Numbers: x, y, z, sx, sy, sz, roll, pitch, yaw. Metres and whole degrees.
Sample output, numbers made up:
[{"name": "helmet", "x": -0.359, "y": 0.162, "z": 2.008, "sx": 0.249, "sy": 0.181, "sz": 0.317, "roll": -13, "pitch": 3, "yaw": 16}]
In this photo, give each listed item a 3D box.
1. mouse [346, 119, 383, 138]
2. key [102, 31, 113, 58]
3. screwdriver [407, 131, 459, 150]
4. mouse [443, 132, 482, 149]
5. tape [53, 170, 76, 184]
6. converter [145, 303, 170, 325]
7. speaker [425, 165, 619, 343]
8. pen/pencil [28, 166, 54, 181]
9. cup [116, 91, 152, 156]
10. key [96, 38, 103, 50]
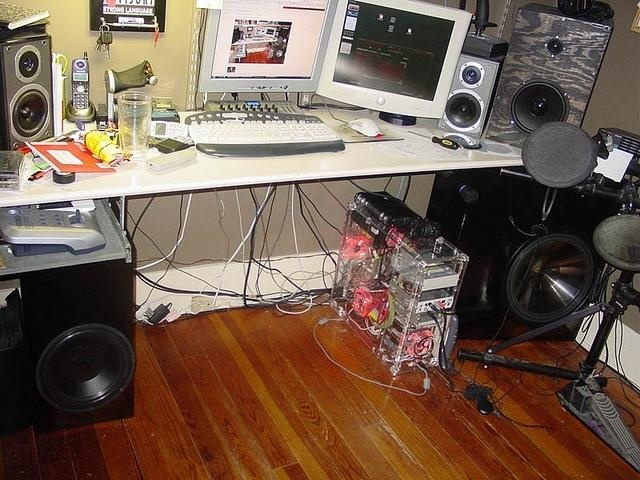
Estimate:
[{"name": "mouse", "x": 0.213, "y": -0.535, "z": 2.156, "sx": 0.143, "sy": 0.048, "sz": 0.082, "roll": 32, "pitch": 38, "yaw": 27}, {"name": "key", "x": -0.850, "y": -0.787, "z": 1.891, "sx": 0.038, "sy": 0.098, "sz": 0.041, "roll": -8, "pitch": 28, "yaw": -23}, {"name": "screwdriver", "x": 0.516, "y": -0.475, "z": 2.257, "sx": 0.079, "sy": 0.037, "sz": 0.315, "roll": -25, "pitch": 39, "yaw": -37}, {"name": "mouse", "x": 0.677, "y": -0.469, "z": 2.210, "sx": 0.107, "sy": 0.029, "sz": 0.113, "roll": -2, "pitch": 35, "yaw": -17}, {"name": "tape", "x": -0.811, "y": -0.203, "z": 1.472, "sx": 0.044, "sy": 0.025, "sz": 0.046, "roll": 3, "pitch": 10, "yaw": -7}, {"name": "converter", "x": -0.825, "y": 0.373, "z": 2.378, "sx": 0.132, "sy": 0.068, "sz": 0.034, "roll": -37, "pitch": 0, "yaw": -16}, {"name": "speaker", "x": 0.991, "y": 0.056, "z": 2.297, "sx": 0.564, "sy": 0.849, "sz": 0.433, "roll": 12, "pitch": 23, "yaw": -5}, {"name": "pen/pencil", "x": -0.892, "y": -0.214, "z": 1.500, "sx": 0.021, "sy": 0.015, "sz": 0.072, "roll": 21, "pitch": 38, "yaw": 22}, {"name": "cup", "x": -0.680, "y": -0.423, "z": 1.725, "sx": 0.127, "sy": 0.191, "sz": 0.277, "roll": -7, "pitch": 29, "yaw": -21}, {"name": "key", "x": -0.885, "y": -0.788, "z": 1.889, "sx": 0.028, "sy": 0.046, "sz": 0.016, "roll": 13, "pitch": 27, "yaw": 17}]
